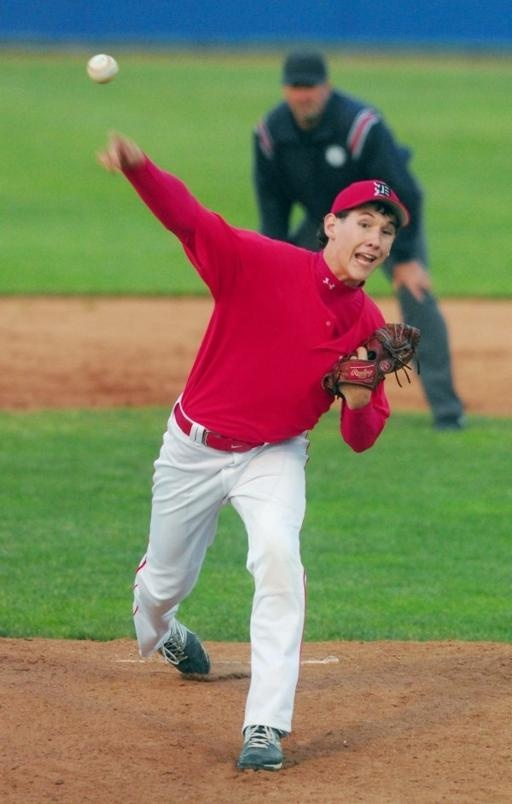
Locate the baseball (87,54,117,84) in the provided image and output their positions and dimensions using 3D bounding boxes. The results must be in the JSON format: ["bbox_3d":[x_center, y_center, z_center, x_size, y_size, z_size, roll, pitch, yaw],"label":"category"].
[{"bbox_3d":[-0.499,-1.084,3.697,0.113,0.095,0.102,1,2,1],"label":"baseball"}]

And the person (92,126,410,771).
[{"bbox_3d":[0.005,0.149,3.753,0.922,1.915,0.861,4,7,15],"label":"person"}]

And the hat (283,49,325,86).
[{"bbox_3d":[0.350,-2.437,8.289,0.323,0.283,0.225,2,6,0],"label":"hat"}]

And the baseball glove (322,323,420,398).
[{"bbox_3d":[0.382,-0.134,3.696,0.198,0.313,0.159,43,-7,10],"label":"baseball glove"}]

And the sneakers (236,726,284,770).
[{"bbox_3d":[0.015,1.056,3.469,0.145,0.146,0.115,1,6,-5],"label":"sneakers"}]
